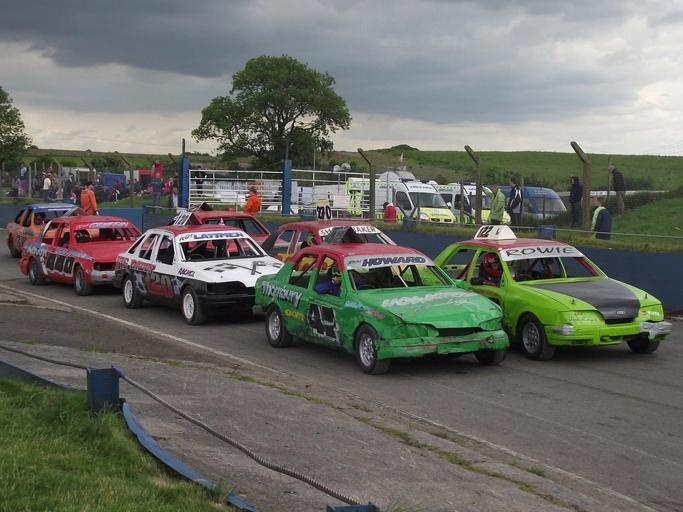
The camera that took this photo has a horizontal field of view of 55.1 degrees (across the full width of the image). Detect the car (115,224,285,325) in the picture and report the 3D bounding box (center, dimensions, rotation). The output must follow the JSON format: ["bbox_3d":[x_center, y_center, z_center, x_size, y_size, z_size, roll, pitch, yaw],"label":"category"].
[{"bbox_3d":[-2.994,0.301,13.905,1.911,1.822,4.350,5,1,-42],"label":"car"}]

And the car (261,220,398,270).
[{"bbox_3d":[-0.571,-0.316,15.048,2.411,0.930,1.315,1,5,33],"label":"car"}]

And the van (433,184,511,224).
[{"bbox_3d":[5.500,-2.420,28.636,1.960,1.490,3.270,-2,3,-22],"label":"van"}]

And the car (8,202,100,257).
[{"bbox_3d":[-10.201,-0.921,21.976,1.834,1.174,2.968,-5,6,-42],"label":"car"}]

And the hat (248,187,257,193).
[{"bbox_3d":[-2.744,-2.045,20.084,0.304,0.185,0.354,-4,6,-22],"label":"hat"}]

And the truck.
[{"bbox_3d":[2.311,-2.803,29.595,2.210,2.124,5.657,-7,8,-41],"label":"truck"}]

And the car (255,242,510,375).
[{"bbox_3d":[0.580,0.747,10.195,3.567,1.859,1.861,7,1,45],"label":"car"}]
